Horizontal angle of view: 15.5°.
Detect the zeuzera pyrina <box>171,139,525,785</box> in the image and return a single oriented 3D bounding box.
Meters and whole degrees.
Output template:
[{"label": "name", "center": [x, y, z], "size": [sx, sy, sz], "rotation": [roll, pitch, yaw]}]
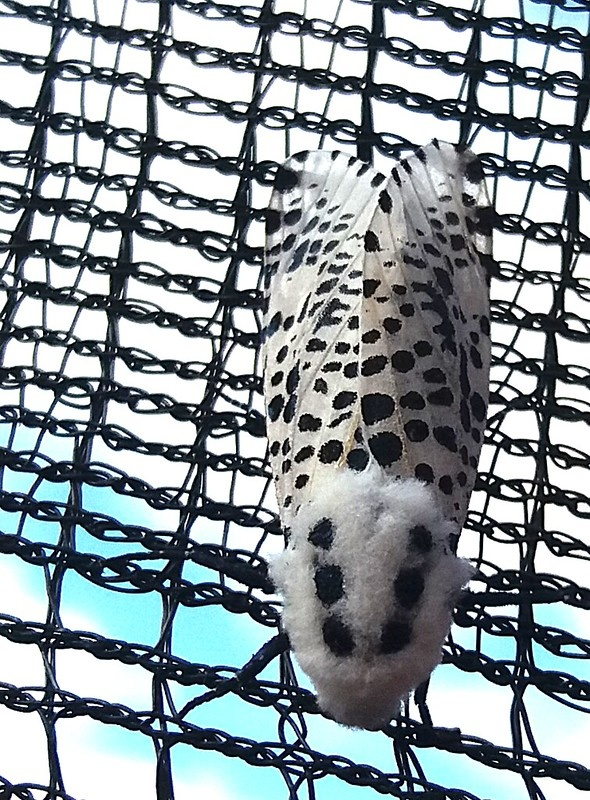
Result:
[{"label": "zeuzera pyrina", "center": [0.167, -0.006, 4.333], "size": [0.458, 1.268, 0.362], "rotation": [22, -38, -19]}]
